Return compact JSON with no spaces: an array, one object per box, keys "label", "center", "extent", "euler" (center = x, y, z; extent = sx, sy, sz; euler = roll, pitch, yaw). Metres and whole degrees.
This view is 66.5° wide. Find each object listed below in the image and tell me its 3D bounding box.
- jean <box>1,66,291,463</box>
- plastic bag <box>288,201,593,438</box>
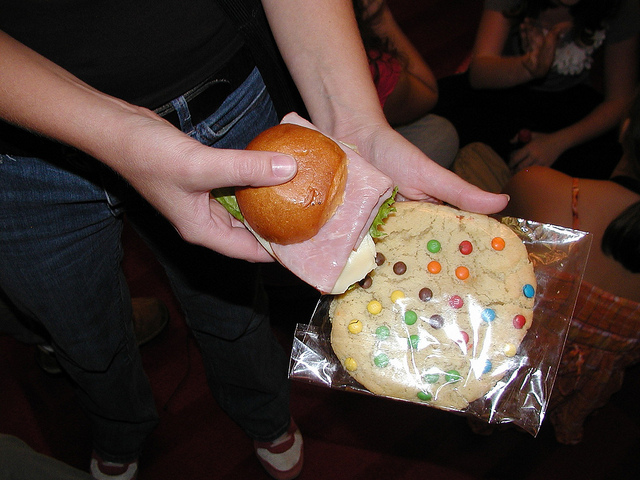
[{"label":"jean","center":[-0.821,0.164,2.572],"extent":[1.162,1.782,1.609],"euler":[14,37,23]},{"label":"plastic bag","center":[0.542,0.234,2.170],"extent":[1.131,0.292,1.056],"euler":[36,76,26]}]
